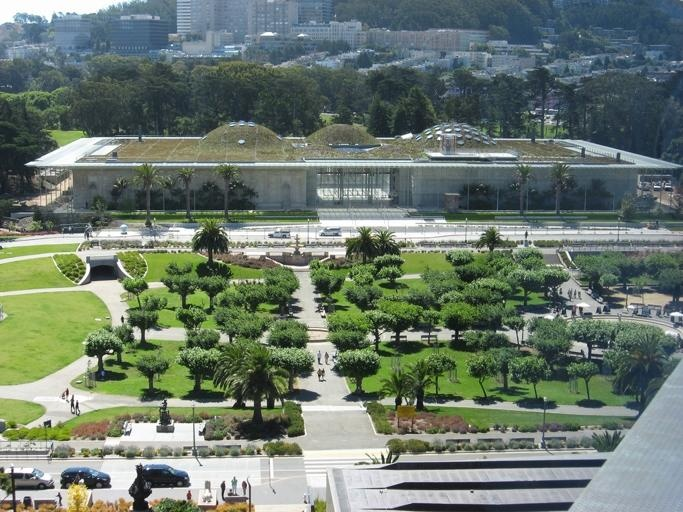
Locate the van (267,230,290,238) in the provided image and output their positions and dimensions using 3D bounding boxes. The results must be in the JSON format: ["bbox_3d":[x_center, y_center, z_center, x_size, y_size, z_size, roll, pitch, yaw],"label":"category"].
[{"bbox_3d":[-13.332,-4.559,369.519,3.388,1.221,1.897,2,5,-1],"label":"van"}]

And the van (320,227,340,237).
[{"bbox_3d":[-2.652,-5.078,370.554,3.266,1.386,1.977,3,7,-2],"label":"van"}]

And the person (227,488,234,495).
[{"bbox_3d":[-18.960,39.620,300.879,1.139,0.676,1.017,-2,18,1],"label":"person"}]

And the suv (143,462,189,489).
[{"bbox_3d":[-30.366,37.072,303.855,6.760,3.095,3.796,-1,13,-4],"label":"suv"}]

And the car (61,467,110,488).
[{"bbox_3d":[-43.827,37.432,302.807,7.400,2.764,3.551,-1,13,-4],"label":"car"}]

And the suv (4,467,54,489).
[{"bbox_3d":[-52.968,37.717,302.812,6.592,2.805,3.781,-1,9,-3],"label":"suv"}]
